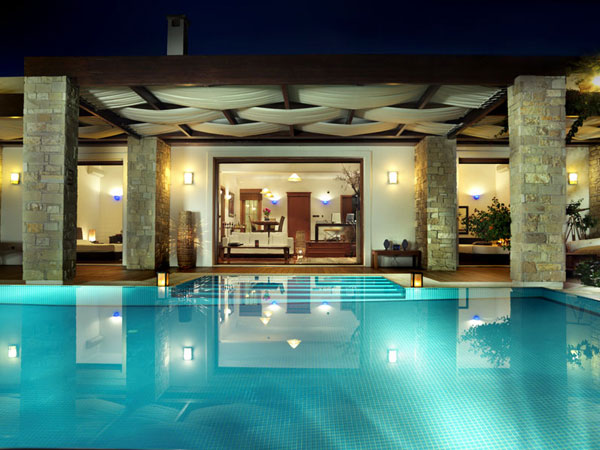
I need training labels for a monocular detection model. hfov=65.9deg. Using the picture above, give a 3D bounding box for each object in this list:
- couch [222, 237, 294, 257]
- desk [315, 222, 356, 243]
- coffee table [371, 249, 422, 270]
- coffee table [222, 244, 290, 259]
[{"bbox_3d":[-1.217,0.665,13.711,1.958,0.508,0.995,1,1,-18],"label":"couch"},{"bbox_3d":[1.198,0.117,18.458,1.645,0.735,0.739,0,-5,1],"label":"desk"},{"bbox_3d":[2.261,0.795,11.122,1.135,0.471,0.593,1,6,5],"label":"coffee table"},{"bbox_3d":[-1.349,0.798,14.036,1.726,0.475,0.795,1,5,6],"label":"coffee table"}]
